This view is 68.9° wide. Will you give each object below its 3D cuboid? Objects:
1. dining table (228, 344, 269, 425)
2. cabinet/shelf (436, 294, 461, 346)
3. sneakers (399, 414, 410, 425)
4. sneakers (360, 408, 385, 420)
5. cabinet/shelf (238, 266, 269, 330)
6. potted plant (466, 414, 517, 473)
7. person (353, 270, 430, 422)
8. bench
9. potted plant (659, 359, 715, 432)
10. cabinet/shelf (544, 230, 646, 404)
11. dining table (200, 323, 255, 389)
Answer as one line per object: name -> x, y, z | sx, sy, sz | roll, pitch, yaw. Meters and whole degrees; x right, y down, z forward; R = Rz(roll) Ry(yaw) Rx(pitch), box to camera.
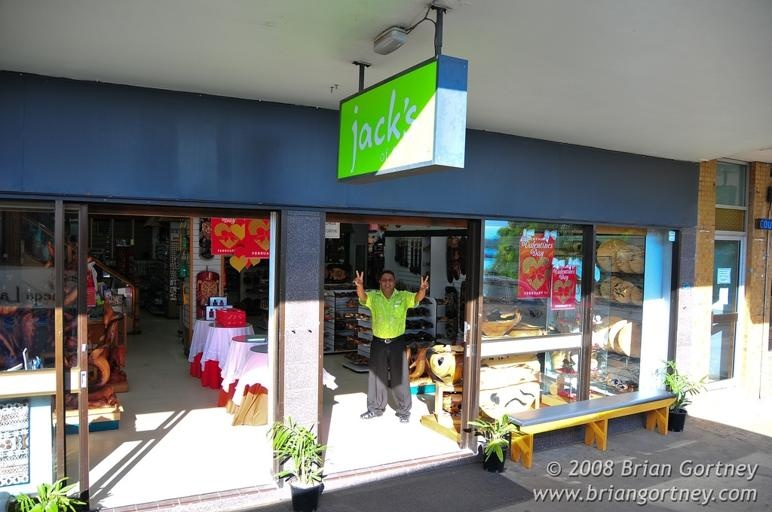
dining table -> -1.958, 1.858, 8.108 | 0.484, 0.984, 0.576 | 1, 8, -10
cabinet/shelf -> 1.270, 1.209, 11.272 | 0.469, 0.841, 0.715 | 4, 8, 11
sneakers -> 0.250, 2.374, 8.167 | 0.124, 0.092, 0.100 | -6, -14, 22
sneakers -> -0.221, 2.321, 8.231 | 0.377, 0.179, 0.125 | 4, -3, -22
cabinet/shelf -> -4.032, 1.153, 17.113 | 0.792, 1.118, 4.180 | 0, 9, -13
potted plant -> 1.324, 2.365, 7.124 | 0.778, 0.663, 0.851 | 0, -10, 9
person -> 0.049, 1.301, 8.319 | 0.986, 2.335, 1.351 | 3, 8, 4
bench -> 2.894, 2.345, 7.785 | 2.696, 0.621, 0.455 | -2, 4, -23
potted plant -> 4.494, 2.145, 8.732 | 0.874, 1.146, 0.977 | 2, -2, 38
cabinet/shelf -> 3.405, 0.889, 8.583 | 1.726, 2.633, 0.530 | -5, 11, -44
dining table -> -2.872, 1.711, 9.699 | 0.912, 0.982, 0.988 | 7, -5, -34
